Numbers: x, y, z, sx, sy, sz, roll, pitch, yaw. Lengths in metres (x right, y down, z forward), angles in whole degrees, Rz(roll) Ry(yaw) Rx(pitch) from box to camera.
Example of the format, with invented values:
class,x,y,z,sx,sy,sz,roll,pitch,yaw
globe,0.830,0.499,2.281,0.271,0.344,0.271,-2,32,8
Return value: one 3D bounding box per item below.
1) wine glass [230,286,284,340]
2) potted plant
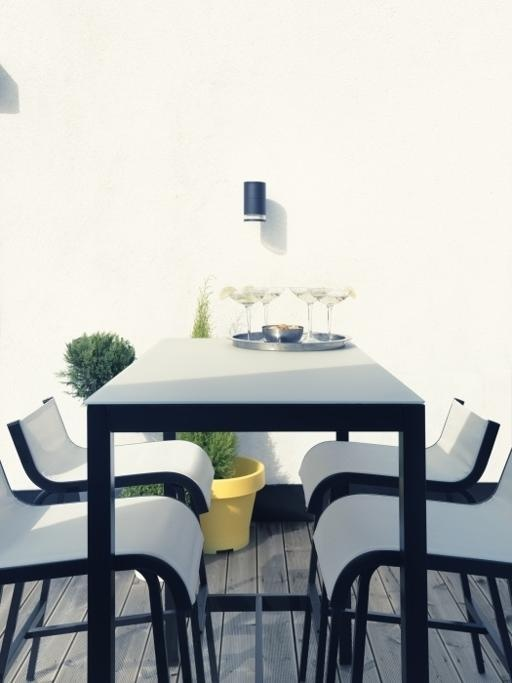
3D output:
class,x,y,z,sx,sy,sz,roll,pitch,yaw
wine glass,0.000,-0.113,2.309,0.197,0.294,0.219,0,3,-3
potted plant,-0.271,0.222,3.377,0.888,1.877,1.145,3,7,17
